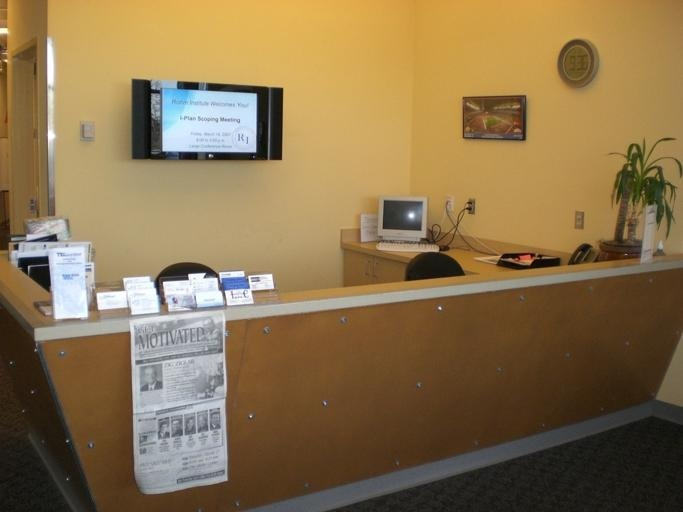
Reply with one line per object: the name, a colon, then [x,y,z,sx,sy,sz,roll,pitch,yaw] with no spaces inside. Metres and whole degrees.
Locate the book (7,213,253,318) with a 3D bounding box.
book: [-1.170,-0.016,2.887,1.108,0.498,0.605,1,2,-29]

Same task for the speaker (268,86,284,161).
speaker: [-0.596,-1.188,4.714,0.128,0.611,0.038,-8,13,-37]

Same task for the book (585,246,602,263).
book: [1.788,0.002,3.728,0.039,0.116,0.101,24,-6,-37]

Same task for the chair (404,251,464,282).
chair: [0.598,0.028,3.461,0.223,0.316,0.265,-2,4,-17]

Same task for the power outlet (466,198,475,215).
power outlet: [1.216,-0.469,4.946,0.079,0.159,0.151,0,1,-19]

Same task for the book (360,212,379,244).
book: [0.280,-0.281,5.383,0.296,0.372,0.039,0,5,-14]

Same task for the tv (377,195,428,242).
tv: [0.589,-0.367,5.395,0.631,0.591,0.361,1,6,4]
